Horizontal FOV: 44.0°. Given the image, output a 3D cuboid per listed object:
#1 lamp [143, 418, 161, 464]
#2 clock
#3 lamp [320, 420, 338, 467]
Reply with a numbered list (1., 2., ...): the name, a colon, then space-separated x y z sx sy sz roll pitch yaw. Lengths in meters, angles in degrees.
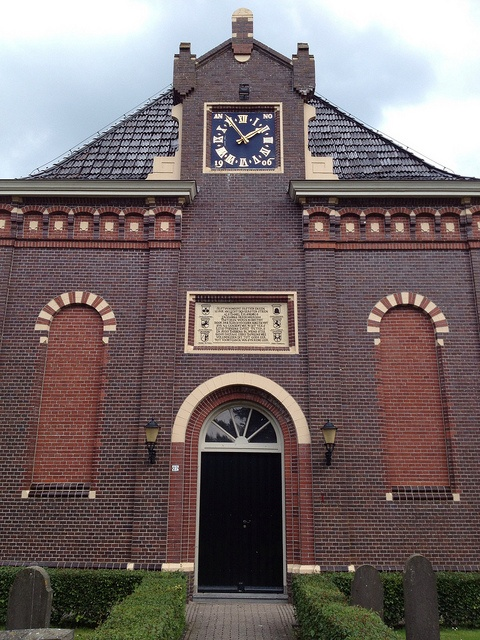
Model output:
1. lamp: -1.700 2.275 11.452 0.273 0.877 0.589 4 -21 -8
2. clock: 0.121 -4.205 13.894 1.653 1.743 0.145 0 -18 1
3. lamp: 1.722 2.385 11.433 0.252 0.729 0.543 -2 -21 8
